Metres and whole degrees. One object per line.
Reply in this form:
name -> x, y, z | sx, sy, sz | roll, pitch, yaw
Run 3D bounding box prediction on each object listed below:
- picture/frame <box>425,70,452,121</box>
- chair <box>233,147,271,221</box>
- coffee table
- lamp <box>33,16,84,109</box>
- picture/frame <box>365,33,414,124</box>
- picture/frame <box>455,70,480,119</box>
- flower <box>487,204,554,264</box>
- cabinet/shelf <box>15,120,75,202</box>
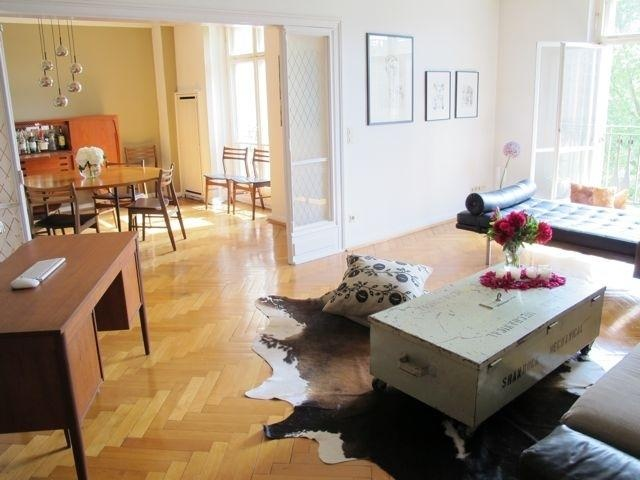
picture/frame -> 1.644, -2.040, 6.626 | 0.690, 0.804, 0.063 | -10, 15, -37
chair -> -1.140, -0.979, 7.850 | 0.679, 1.017, 1.386 | -5, 19, -6
coffee table -> 0.929, 0.222, 2.958 | 1.602, 0.640, 0.798 | -16, 22, -40
lamp -> -3.912, -2.672, 7.113 | 0.685, 1.339, 1.730 | -12, 21, -24
picture/frame -> 0.861, -2.082, 6.018 | 1.075, 1.298, 0.087 | -14, 22, -36
picture/frame -> 2.158, -2.170, 7.001 | 0.694, 0.807, 0.061 | -9, 15, -34
flower -> 1.599, -0.001, 3.853 | 0.514, 0.493, 0.506 | 3, 11, -2
cabinet/shelf -> -4.369, -1.413, 7.561 | 0.916, 0.799, 0.326 | -7, 23, -13
